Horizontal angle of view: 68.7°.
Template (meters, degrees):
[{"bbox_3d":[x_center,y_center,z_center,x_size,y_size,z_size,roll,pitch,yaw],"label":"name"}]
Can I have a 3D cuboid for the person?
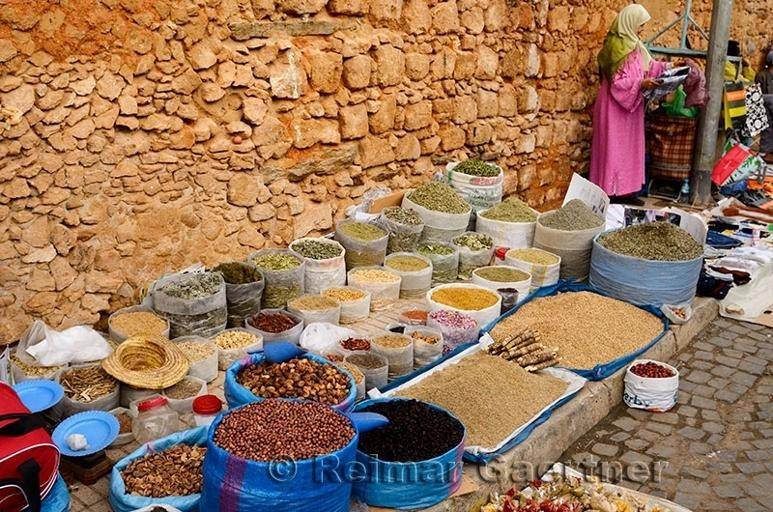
[{"bbox_3d":[3.992,-2.345,9.236,1.224,3.409,1.039,6,27,16],"label":"person"}]

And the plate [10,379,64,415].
[{"bbox_3d":[-2.708,1.076,4.392,0.291,0.039,0.293,18,20,18],"label":"plate"}]

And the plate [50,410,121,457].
[{"bbox_3d":[-2.237,1.319,4.218,0.403,0.053,0.417,34,35,27],"label":"plate"}]
